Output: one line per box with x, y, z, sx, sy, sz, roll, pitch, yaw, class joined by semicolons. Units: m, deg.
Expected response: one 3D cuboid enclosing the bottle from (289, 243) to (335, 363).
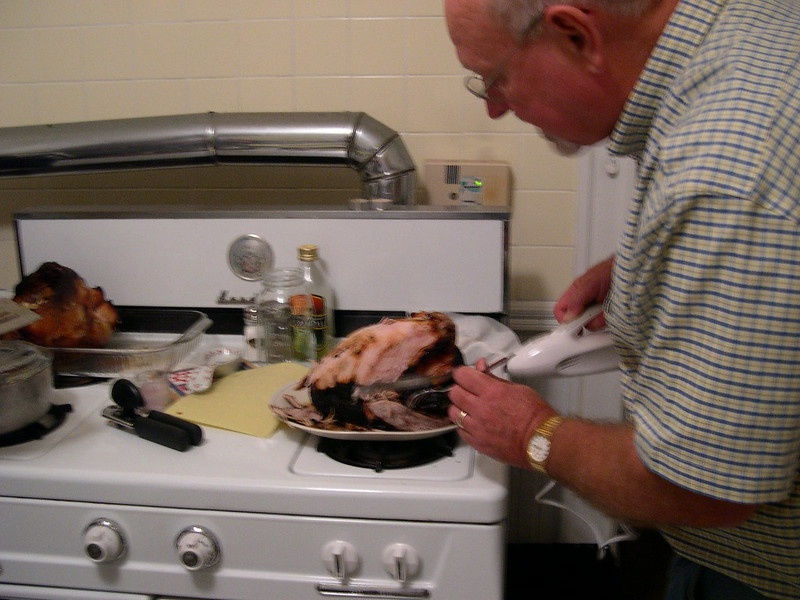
-0.209;0.024;1.506;0.098;0.267;0.097;2;0;0;bottle

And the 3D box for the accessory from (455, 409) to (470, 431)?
0.096;0.189;1.105;0.027;0.027;0.025;3;21;19;accessory

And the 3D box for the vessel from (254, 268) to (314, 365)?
-0.247;0.045;1.542;0.126;0.200;0.133;0;-1;17;vessel

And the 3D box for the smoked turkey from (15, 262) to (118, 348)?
-0.692;0.023;1.429;0.173;0.217;0.084;-7;-25;-28;smoked turkey
